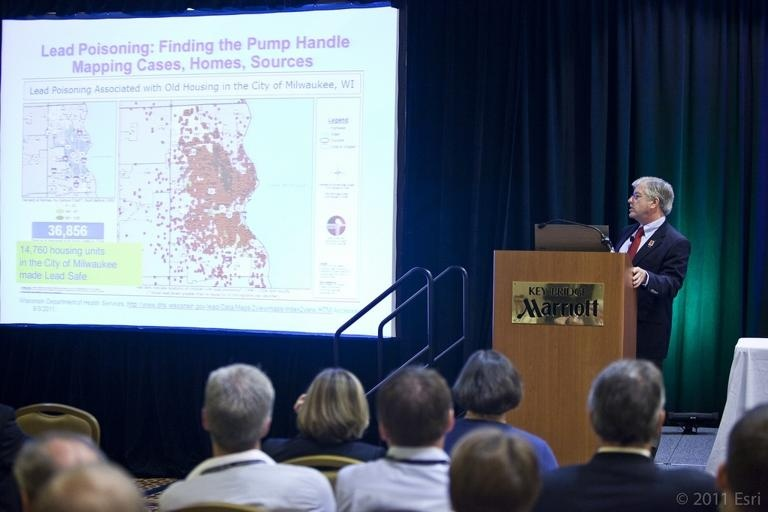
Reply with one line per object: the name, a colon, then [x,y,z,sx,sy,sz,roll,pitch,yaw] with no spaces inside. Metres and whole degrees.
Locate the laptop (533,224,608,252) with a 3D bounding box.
laptop: [1.103,-0.105,4.548,0.417,0.157,0.099,-1,-1,1]

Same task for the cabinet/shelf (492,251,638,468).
cabinet/shelf: [1.022,0.483,4.740,0.875,1.364,0.912,7,13,26]

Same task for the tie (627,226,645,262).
tie: [1.732,-0.071,5.341,0.043,0.034,0.310,-12,35,42]
